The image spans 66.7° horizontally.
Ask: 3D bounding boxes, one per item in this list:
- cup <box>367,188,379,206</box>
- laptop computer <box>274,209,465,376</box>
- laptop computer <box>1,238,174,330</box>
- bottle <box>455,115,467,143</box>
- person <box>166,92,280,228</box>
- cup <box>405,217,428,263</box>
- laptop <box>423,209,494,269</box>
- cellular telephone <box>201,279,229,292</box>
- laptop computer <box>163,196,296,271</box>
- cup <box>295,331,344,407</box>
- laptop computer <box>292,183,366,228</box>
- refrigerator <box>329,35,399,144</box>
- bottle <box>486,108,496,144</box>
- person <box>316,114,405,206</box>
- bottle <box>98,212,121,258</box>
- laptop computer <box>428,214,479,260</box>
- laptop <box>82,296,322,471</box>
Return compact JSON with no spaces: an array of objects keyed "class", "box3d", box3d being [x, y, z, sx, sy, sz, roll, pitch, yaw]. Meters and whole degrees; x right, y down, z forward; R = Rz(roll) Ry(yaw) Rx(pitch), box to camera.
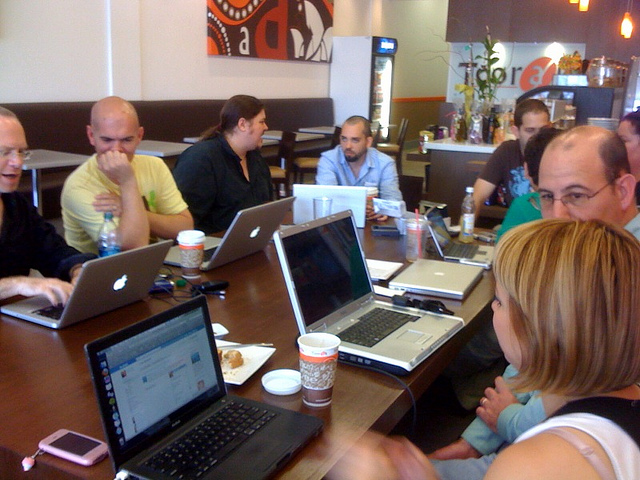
[{"class":"cup","box3d":[0.330,-0.281,3.056,0.057,0.115,0.189,1,20,8]},{"class":"laptop computer","box3d":[0.184,0.138,1.615,0.536,0.361,0.584,7,11,18]},{"class":"laptop computer","box3d":[-0.794,0.082,1.660,0.354,0.217,0.378,11,12,21]},{"class":"bottle","box3d":[1.397,-1.102,4.787,0.115,0.242,0.067,-1,20,2]},{"class":"person","box3d":[-0.643,-0.559,3.387,0.533,0.842,0.996,18,22,27]},{"class":"cup","box3d":[0.478,0.024,2.398,0.118,0.198,0.118,2,-7,0]},{"class":"laptop","box3d":[0.691,0.018,2.434,0.303,0.206,0.337,1,15,22]},{"class":"cellular telephone","box3d":[-0.411,0.176,1.886,0.131,0.036,0.035,7,20,-42]},{"class":"laptop computer","box3d":[-0.454,-0.133,2.241,0.390,0.248,0.425,16,22,28]},{"class":"cup","box3d":[0.032,0.358,1.248,0.130,0.155,0.118,8,-9,10]},{"class":"laptop computer","box3d":[0.054,-0.219,2.753,0.411,0.274,0.264,2,35,-8]},{"class":"refrigerator","box3d":[0.911,-2.842,9.350,1.003,1.981,2.165,6,21,21]},{"class":"bottle","box3d":[1.660,-1.075,4.693,0.071,0.267,0.206,5,21,19]},{"class":"person","box3d":[0.263,-0.448,3.923,0.705,1.014,0.542,-6,13,-19]},{"class":"bottle","box3d":[-0.982,0.008,2.269,0.111,0.279,0.107,8,19,-3]},{"class":"laptop computer","box3d":[0.706,-0.030,2.468,0.265,0.203,0.352,0,10,28]},{"class":"laptop","box3d":[-0.229,0.322,1.030,0.317,0.306,0.358,10,23,30]}]
